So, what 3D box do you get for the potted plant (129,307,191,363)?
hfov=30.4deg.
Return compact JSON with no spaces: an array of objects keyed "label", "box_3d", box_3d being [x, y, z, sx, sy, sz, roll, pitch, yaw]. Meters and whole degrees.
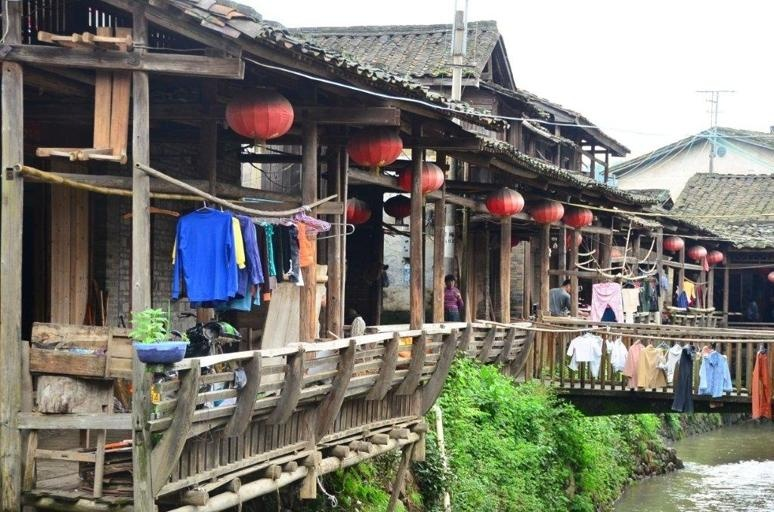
[{"label":"potted plant","box_3d":[-3.596,1.261,22.561,0.899,0.888,0.784,1,-5,-10]}]
